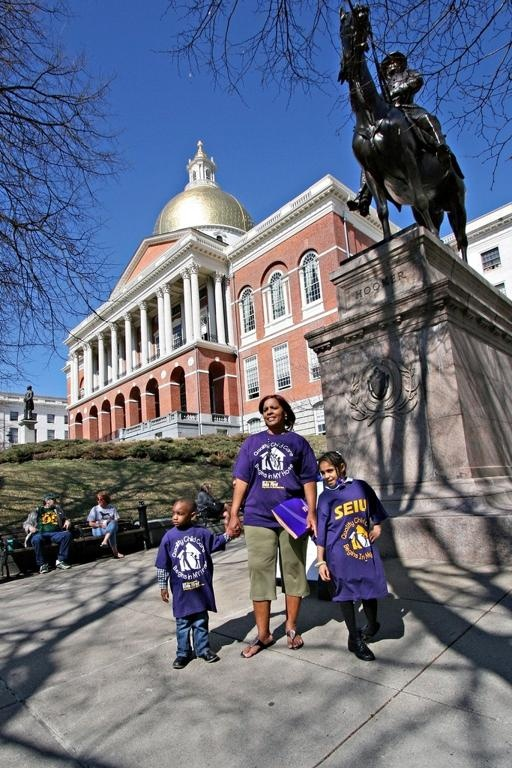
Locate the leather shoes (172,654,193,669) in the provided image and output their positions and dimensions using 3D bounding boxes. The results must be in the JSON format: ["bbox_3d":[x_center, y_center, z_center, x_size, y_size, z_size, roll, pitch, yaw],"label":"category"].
[{"bbox_3d":[-0.451,1.663,2.976,0.043,0.051,0.116,-2,-25,13],"label":"leather shoes"}]

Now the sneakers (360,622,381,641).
[{"bbox_3d":[0.672,1.520,3.018,0.093,0.071,0.227,9,-39,-5],"label":"sneakers"}]

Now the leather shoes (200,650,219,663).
[{"bbox_3d":[-0.277,1.652,3.043,0.095,0.052,0.138,-1,-12,-34],"label":"leather shoes"}]

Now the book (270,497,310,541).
[{"bbox_3d":[0.250,0.832,3.135,0.256,0.220,0.196,2,-13,-42],"label":"book"}]

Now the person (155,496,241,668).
[{"bbox_3d":[-0.398,1.244,3.259,0.466,0.968,0.463,-5,-10,-13],"label":"person"}]

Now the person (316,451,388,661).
[{"bbox_3d":[0.588,0.996,3.103,0.439,1.164,0.576,-9,-10,14],"label":"person"}]

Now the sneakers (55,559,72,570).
[{"bbox_3d":[-3.211,3.019,8.368,0.321,0.152,0.117,0,-10,20],"label":"sneakers"}]

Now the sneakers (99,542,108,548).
[{"bbox_3d":[-2.706,2.901,8.965,0.104,0.137,0.315,3,-20,-15],"label":"sneakers"}]

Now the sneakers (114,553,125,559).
[{"bbox_3d":[-2.391,3.030,8.812,0.085,0.065,0.164,2,-14,-29],"label":"sneakers"}]

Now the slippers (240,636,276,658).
[{"bbox_3d":[0.003,1.636,3.095,0.205,0.076,0.080,14,-28,-39],"label":"slippers"}]

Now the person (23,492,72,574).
[{"bbox_3d":[-3.447,2.485,8.487,0.663,1.246,0.716,-10,-12,41],"label":"person"}]

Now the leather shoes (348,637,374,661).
[{"bbox_3d":[0.582,1.486,2.827,0.089,0.100,0.216,-5,-10,-13],"label":"leather shoes"}]
